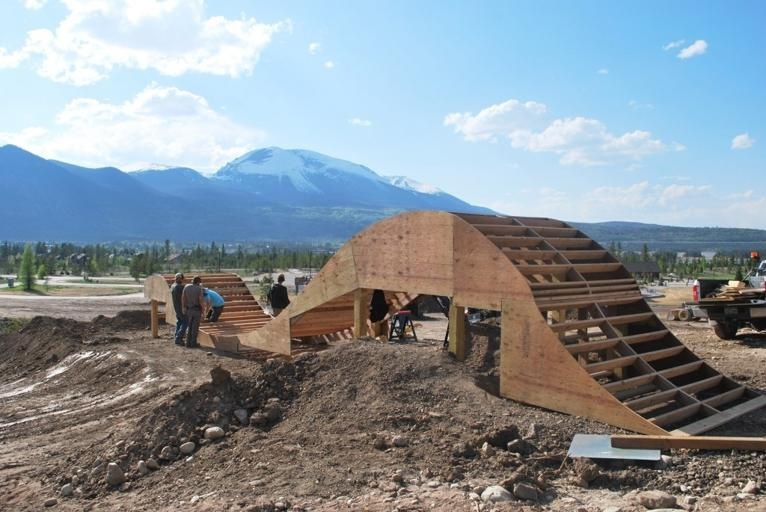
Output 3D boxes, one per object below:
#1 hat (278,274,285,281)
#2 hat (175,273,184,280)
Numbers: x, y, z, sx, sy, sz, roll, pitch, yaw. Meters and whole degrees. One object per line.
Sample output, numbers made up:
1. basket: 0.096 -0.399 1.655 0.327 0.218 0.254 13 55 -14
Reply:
1. hat: -3.033 0.615 17.517 0.224 0.271 0.296 0 -7 -20
2. hat: -6.054 0.606 17.318 0.233 0.255 0.283 -1 16 -14
